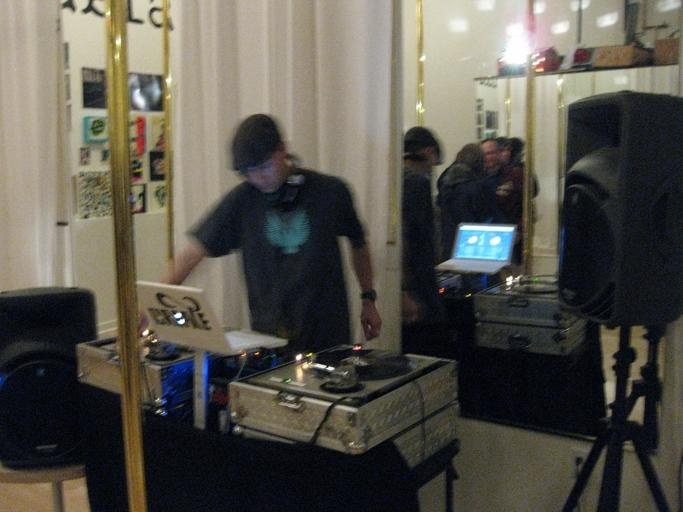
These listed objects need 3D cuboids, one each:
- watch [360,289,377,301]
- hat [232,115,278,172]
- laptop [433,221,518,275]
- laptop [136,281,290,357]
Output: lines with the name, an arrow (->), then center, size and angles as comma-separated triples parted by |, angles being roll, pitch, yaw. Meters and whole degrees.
watch -> 0.044, 0.067, 1.169 | 0.020, 0.021, 0.020 | 1, -4, 13
hat -> -0.156, -0.201, 1.220 | 0.078, 0.103, 0.035 | -11, -19, 29
laptop -> 0.210, -0.014, 1.094 | 0.130, 0.063, 0.131 | -5, 11, -12
laptop -> -0.281, 0.110, 1.248 | 0.204, 0.094, 0.151 | 3, 5, 36
